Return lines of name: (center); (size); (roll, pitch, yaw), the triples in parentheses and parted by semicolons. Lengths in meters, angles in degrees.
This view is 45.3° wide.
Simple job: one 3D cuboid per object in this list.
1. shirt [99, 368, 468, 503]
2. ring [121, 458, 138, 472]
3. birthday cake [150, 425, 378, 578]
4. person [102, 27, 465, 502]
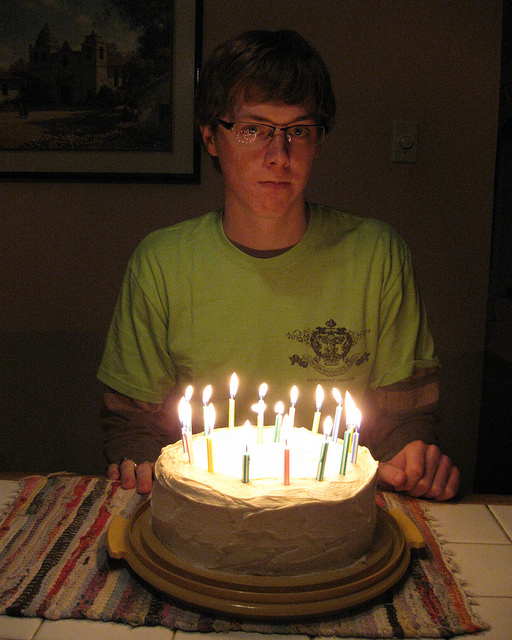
shirt: (0.070, 0.158, 1.806); (1.125, 0.325, 0.902); (1, 6, 2)
ring: (-0.259, 0.293, 1.259); (0.018, 0.004, 0.018); (10, 53, -13)
birthday cake: (0.023, 0.206, 0.984); (0.418, 0.171, 0.386); (-1, 10, -7)
person: (0.054, -0.057, 1.437); (0.879, 1.118, 0.637); (1, 20, 3)
